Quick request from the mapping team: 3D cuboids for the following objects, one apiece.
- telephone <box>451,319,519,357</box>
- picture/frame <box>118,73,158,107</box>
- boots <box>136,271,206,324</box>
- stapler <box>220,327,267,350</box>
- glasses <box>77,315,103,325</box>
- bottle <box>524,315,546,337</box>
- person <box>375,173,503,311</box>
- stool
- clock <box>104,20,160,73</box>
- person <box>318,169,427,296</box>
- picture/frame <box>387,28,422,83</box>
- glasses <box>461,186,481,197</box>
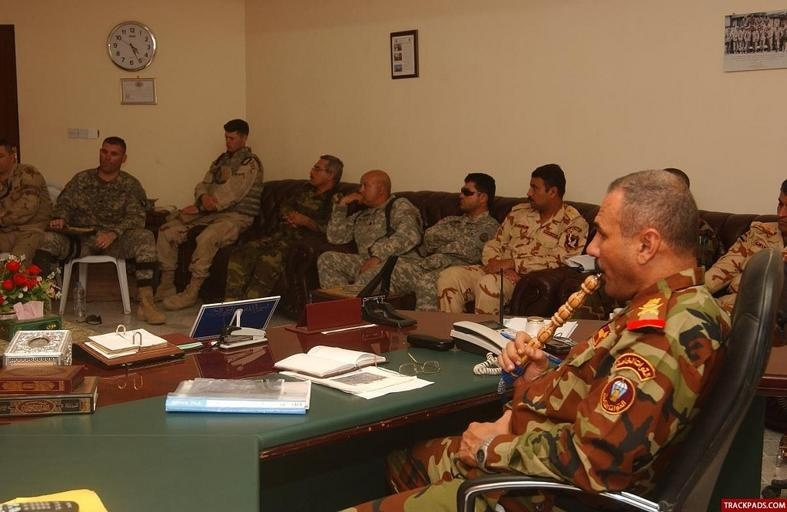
[{"bbox_3d":[0.379,0.324,2.308,0.218,0.096,0.280,12,-2,-40],"label":"telephone"},{"bbox_3d":[-2.921,-1.898,6.823,0.376,0.333,0.037,-1,2,-16],"label":"picture/frame"},{"bbox_3d":[-2.039,0.391,5.434,0.771,0.547,0.268,3,14,-44],"label":"boots"},{"bbox_3d":[-0.590,0.328,2.438,0.225,0.081,0.065,0,-1,-44],"label":"stapler"},{"bbox_3d":[-2.591,0.544,5.168,0.109,0.056,0.136,-2,2,-44],"label":"glasses"},{"bbox_3d":[0.564,0.269,2.375,0.087,0.097,0.089,2,2,15],"label":"bottle"},{"bbox_3d":[0.155,-0.144,5.217,1.111,1.504,0.808,1,4,-16],"label":"person"},{"bbox_3d":[-2.745,0.262,5.533,0.624,0.545,0.583,0,-2,-36],"label":"stool"},{"bbox_3d":[-2.981,-2.381,6.782,0.602,0.611,0.083,-1,3,-9],"label":"clock"},{"bbox_3d":[-0.179,-0.040,5.215,0.894,1.445,0.916,2,5,16],"label":"person"},{"bbox_3d":[0.115,-1.923,5.740,0.361,0.443,0.055,8,14,39],"label":"picture/frame"},{"bbox_3d":[0.619,-0.530,4.840,0.080,0.085,0.027,2,20,21],"label":"glasses"}]
